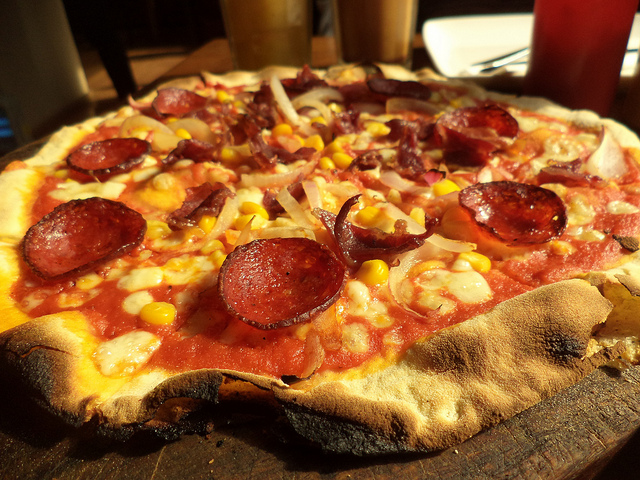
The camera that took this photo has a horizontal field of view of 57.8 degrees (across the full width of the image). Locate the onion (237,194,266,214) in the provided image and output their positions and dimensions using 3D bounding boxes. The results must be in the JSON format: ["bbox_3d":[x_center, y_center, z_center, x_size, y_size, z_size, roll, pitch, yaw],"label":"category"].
[{"bbox_3d":[-0.377,-0.184,3.071,0.123,0.041,0.113,7,42,5],"label":"onion"}]

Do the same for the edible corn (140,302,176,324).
[{"bbox_3d":[-0.705,0.310,2.519,0.109,0.049,0.103,-3,23,-23],"label":"edible corn"}]

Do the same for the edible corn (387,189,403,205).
[{"bbox_3d":[0.386,-0.221,3.045,0.074,0.039,0.065,10,78,9],"label":"edible corn"}]

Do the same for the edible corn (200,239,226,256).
[{"bbox_3d":[-0.526,0.038,2.798,0.085,0.030,0.082,-9,29,-4],"label":"edible corn"}]

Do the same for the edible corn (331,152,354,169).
[{"bbox_3d":[0.119,-0.453,3.353,0.128,0.069,0.069,16,-4,20],"label":"edible corn"}]

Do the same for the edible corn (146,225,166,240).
[{"bbox_3d":[-0.824,-0.037,2.886,0.077,0.025,0.069,-3,46,3],"label":"edible corn"}]

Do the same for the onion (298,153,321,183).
[{"bbox_3d":[-0.068,-0.391,3.182,0.045,0.041,0.296,2,34,27],"label":"onion"}]

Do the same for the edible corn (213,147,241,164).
[{"bbox_3d":[-0.532,-0.481,3.319,0.122,0.062,0.088,11,35,3],"label":"edible corn"}]

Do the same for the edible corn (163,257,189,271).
[{"bbox_3d":[-0.684,0.114,2.736,0.073,0.022,0.076,19,32,28],"label":"edible corn"}]

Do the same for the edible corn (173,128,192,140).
[{"bbox_3d":[-0.823,-0.630,3.455,0.079,0.048,0.089,10,29,-36],"label":"edible corn"}]

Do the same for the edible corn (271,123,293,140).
[{"bbox_3d":[-0.236,-0.663,3.550,0.112,0.052,0.105,-19,50,-5],"label":"edible corn"}]

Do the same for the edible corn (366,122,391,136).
[{"bbox_3d":[0.358,-0.683,3.589,0.106,0.061,0.115,1,19,-18],"label":"edible corn"}]

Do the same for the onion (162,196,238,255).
[{"bbox_3d":[-0.594,-0.079,2.917,0.070,0.319,0.253,55,23,-5],"label":"onion"}]

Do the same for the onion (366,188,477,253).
[{"bbox_3d":[0.482,-0.078,2.772,0.404,0.080,0.301,28,11,10],"label":"onion"}]

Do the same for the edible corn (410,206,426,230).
[{"bbox_3d":[0.476,-0.104,2.801,0.071,0.031,0.089,16,40,-10],"label":"edible corn"}]

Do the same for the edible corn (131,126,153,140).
[{"bbox_3d":[-1.072,-0.640,3.452,0.105,0.104,0.030,11,54,-37],"label":"edible corn"}]

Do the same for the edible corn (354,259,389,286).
[{"bbox_3d":[0.235,0.145,2.611,0.110,0.070,0.130,3,12,4],"label":"edible corn"}]

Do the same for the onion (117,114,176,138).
[{"bbox_3d":[-1.063,-0.669,3.439,0.239,0.047,0.159,6,68,6],"label":"onion"}]

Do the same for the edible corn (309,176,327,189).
[{"bbox_3d":[-0.012,-0.306,3.070,0.084,0.042,0.080,-14,33,-29],"label":"edible corn"}]

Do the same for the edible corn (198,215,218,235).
[{"bbox_3d":[-0.570,-0.078,2.900,0.099,0.051,0.090,7,66,-6],"label":"edible corn"}]

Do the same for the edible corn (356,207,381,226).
[{"bbox_3d":[0.235,-0.121,2.859,0.093,0.047,0.093,6,32,25],"label":"edible corn"}]

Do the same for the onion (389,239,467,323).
[{"bbox_3d":[0.413,0.144,2.586,0.353,0.105,0.350,10,49,16],"label":"onion"}]
